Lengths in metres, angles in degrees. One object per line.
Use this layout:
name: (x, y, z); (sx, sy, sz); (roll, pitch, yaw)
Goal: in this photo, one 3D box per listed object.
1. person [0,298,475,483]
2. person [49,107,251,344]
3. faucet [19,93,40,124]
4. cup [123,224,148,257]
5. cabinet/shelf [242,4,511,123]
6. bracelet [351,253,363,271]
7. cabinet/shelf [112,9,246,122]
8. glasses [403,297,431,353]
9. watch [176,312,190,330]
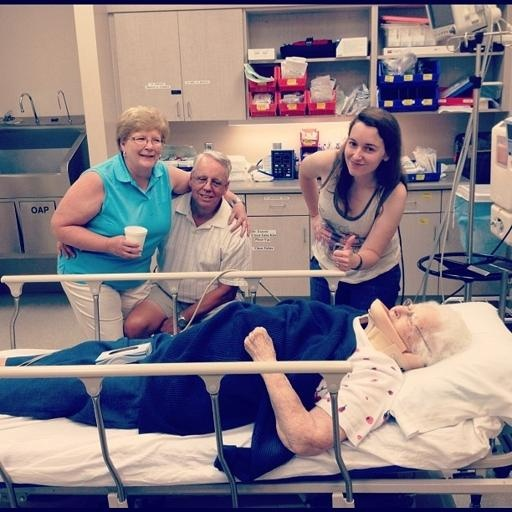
person: (-0.072, 0.383, 1.688); (1.174, 0.322, 0.634); (-6, 8, 3)
person: (-0.467, -0.031, 2.506); (0.931, 1.215, 0.585); (-5, 16, -30)
faucet: (-1.836, -1.204, 4.463); (0.144, 0.251, 0.808); (-9, 19, -21)
cup: (-0.466, -0.057, 2.195); (0.102, 0.111, 0.103); (2, 12, 0)
cabinet/shelf: (0.791, -1.472, 3.928); (1.725, 0.625, 0.480); (1, 18, 10)
bracelet: (0.398, 0.026, 2.125); (0.037, 0.053, 0.053); (0, -12, -15)
cabinet/shelf: (-0.512, -1.370, 3.836); (1.146, 0.945, 0.435); (0, 16, 2)
glasses: (0.532, 0.232, 1.787); (0.034, 0.133, 0.100); (-19, 1, 9)
watch: (-0.315, 0.272, 2.338); (0.050, 0.034, 0.064); (8, 48, -14)
